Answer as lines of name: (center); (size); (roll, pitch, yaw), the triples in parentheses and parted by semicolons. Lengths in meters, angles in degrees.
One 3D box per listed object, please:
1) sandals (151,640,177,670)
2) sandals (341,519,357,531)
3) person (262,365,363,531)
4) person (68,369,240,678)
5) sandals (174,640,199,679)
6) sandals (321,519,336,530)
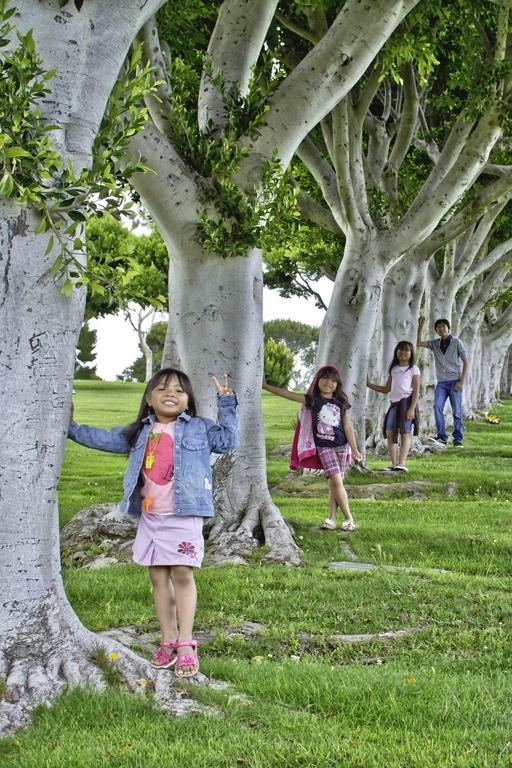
sandals: (-0.446, 1.310, 3.383); (0.113, 0.081, 0.221); (3, -5, -5)
sandals: (1.038, 1.596, 7.900); (0.109, 0.087, 0.192); (-3, -28, 5)
person: (0.710, 0.677, 7.679); (0.858, 1.860, 1.182); (2, -5, 12)
person: (-0.504, 0.641, 3.597); (0.686, 1.454, 0.489); (1, -5, 20)
sandals: (-0.327, 1.288, 3.312); (0.113, 0.158, 0.189); (3, -5, -5)
sandals: (0.805, 1.568, 7.831); (0.126, 0.091, 0.221); (-1, -10, 6)
